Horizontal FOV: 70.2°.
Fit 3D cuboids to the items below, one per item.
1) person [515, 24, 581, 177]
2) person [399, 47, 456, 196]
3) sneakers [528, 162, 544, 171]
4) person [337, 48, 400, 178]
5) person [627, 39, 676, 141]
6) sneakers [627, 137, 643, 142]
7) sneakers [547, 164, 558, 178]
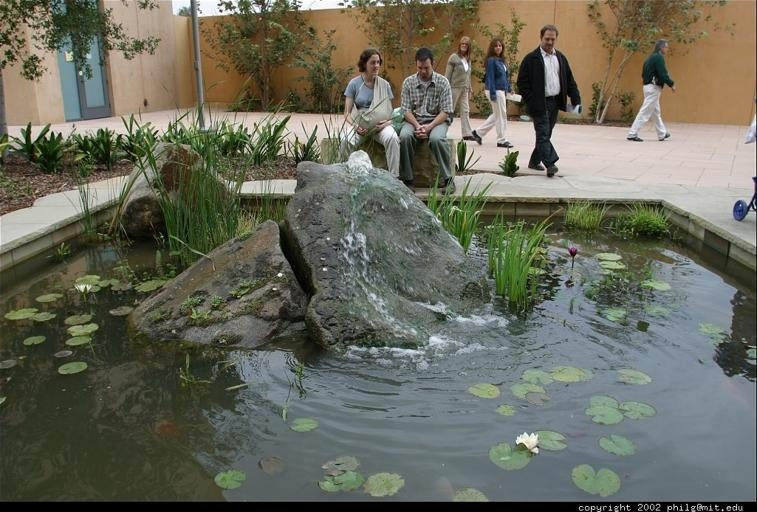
[{"bbox_3d":[2.485,-2.265,7.774,0.874,2.010,1.034,3,22,20],"label":"person"},{"bbox_3d":[0.611,-1.785,6.955,0.691,1.736,0.504,1,15,4],"label":"person"},{"bbox_3d":[2.418,-1.407,8.292,0.298,0.141,0.115,0,23,2],"label":"sneakers"},{"bbox_3d":[-0.118,-1.839,6.895,0.774,1.570,1.108,-1,16,-1],"label":"person"},{"bbox_3d":[5.942,-3.606,11.593,0.813,2.065,1.208,8,18,28],"label":"person"},{"bbox_3d":[5.519,-2.558,11.588,0.298,0.156,0.139,-3,19,-1],"label":"sneakers"},{"bbox_3d":[2.487,-1.236,7.724,0.102,0.112,0.250,-6,0,4],"label":"sneakers"}]
